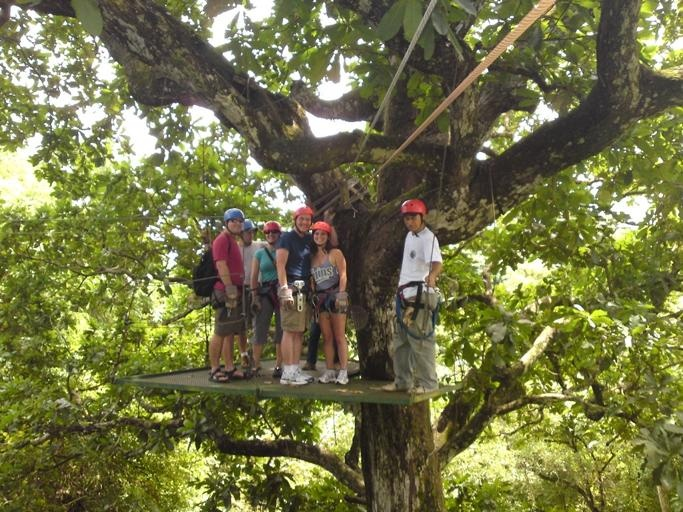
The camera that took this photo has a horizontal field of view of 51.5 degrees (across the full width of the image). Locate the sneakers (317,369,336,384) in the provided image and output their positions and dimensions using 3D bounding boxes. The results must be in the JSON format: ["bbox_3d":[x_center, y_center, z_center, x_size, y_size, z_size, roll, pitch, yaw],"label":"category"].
[{"bbox_3d":[-0.221,1.859,10.842,0.256,0.194,0.156,4,-9,-14],"label":"sneakers"}]

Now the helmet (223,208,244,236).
[{"bbox_3d":[-1.659,-0.550,11.204,0.285,0.436,0.405,1,-9,-30],"label":"helmet"}]

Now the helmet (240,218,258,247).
[{"bbox_3d":[-1.583,-0.392,11.859,0.284,0.425,0.363,-1,5,-20],"label":"helmet"}]

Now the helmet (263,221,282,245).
[{"bbox_3d":[-1.094,-0.370,11.456,0.245,0.359,0.351,1,-13,-1],"label":"helmet"}]

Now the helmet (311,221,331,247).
[{"bbox_3d":[-0.315,-0.370,11.021,0.262,0.378,0.376,0,-21,-1],"label":"helmet"}]

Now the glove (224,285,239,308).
[{"bbox_3d":[-1.674,0.620,10.855,0.206,0.306,0.296,0,-1,-10],"label":"glove"}]

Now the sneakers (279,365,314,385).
[{"bbox_3d":[-0.691,1.784,10.551,0.520,0.306,0.215,-1,-1,13],"label":"sneakers"}]

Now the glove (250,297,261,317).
[{"bbox_3d":[-1.365,0.800,11.312,0.080,0.260,0.179,2,-23,0],"label":"glove"}]

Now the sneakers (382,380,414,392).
[{"bbox_3d":[0.832,1.903,10.258,0.416,0.184,0.168,1,-47,6],"label":"sneakers"}]

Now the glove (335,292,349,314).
[{"bbox_3d":[0.002,0.698,10.715,0.171,0.273,0.226,6,-44,-4],"label":"glove"}]

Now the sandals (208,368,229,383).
[{"bbox_3d":[-1.886,1.857,10.992,0.149,0.150,0.329,4,-10,-34],"label":"sandals"}]

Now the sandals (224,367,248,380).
[{"bbox_3d":[-1.614,1.850,11.080,0.380,0.175,0.146,-2,-3,5],"label":"sandals"}]

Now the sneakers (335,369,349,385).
[{"bbox_3d":[0.016,1.852,10.694,0.202,0.305,0.276,3,-44,-1],"label":"sneakers"}]

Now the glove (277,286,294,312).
[{"bbox_3d":[-0.821,0.639,10.623,0.271,0.400,0.265,-5,-1,5],"label":"glove"}]

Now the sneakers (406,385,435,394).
[{"bbox_3d":[1.136,1.912,10.055,0.372,0.178,0.143,-3,3,-2],"label":"sneakers"}]
